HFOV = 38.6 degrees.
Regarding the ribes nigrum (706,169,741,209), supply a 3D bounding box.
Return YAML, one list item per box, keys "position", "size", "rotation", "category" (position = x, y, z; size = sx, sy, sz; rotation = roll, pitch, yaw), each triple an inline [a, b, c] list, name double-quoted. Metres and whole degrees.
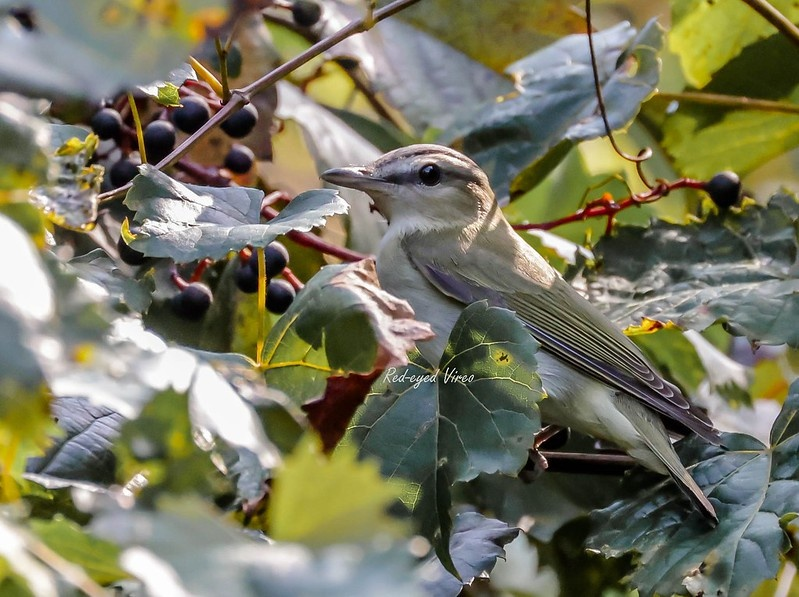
- position: [0.889, -0.298, 3.137]
  size: [0.102, 0.086, 0.082]
  rotation: [1, -4, 24]
  category: "ribes nigrum"
